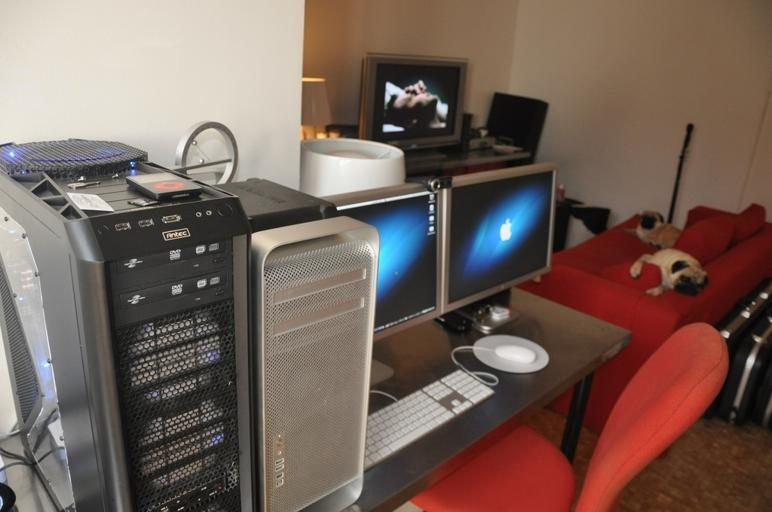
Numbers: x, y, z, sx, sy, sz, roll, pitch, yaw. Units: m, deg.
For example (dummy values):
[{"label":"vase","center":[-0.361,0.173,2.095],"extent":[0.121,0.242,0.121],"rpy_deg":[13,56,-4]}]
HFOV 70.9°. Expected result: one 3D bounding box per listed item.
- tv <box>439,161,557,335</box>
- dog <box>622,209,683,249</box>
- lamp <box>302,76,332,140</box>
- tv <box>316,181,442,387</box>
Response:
[{"label":"tv","center":[0.423,-0.015,2.058],"extent":[0.581,0.552,0.181],"rpy_deg":[-21,30,-38]},{"label":"dog","center":[2.050,-0.202,4.171],"extent":[0.166,0.211,0.500],"rpy_deg":[-12,28,-18]},{"label":"lamp","center":[-0.519,-1.065,3.978],"extent":[0.200,0.493,0.638],"rpy_deg":[-2,25,-8]},{"label":"tv","center":[-0.011,0.072,1.527],"extent":[0.524,0.561,0.179],"rpy_deg":[-23,32,-36]}]
